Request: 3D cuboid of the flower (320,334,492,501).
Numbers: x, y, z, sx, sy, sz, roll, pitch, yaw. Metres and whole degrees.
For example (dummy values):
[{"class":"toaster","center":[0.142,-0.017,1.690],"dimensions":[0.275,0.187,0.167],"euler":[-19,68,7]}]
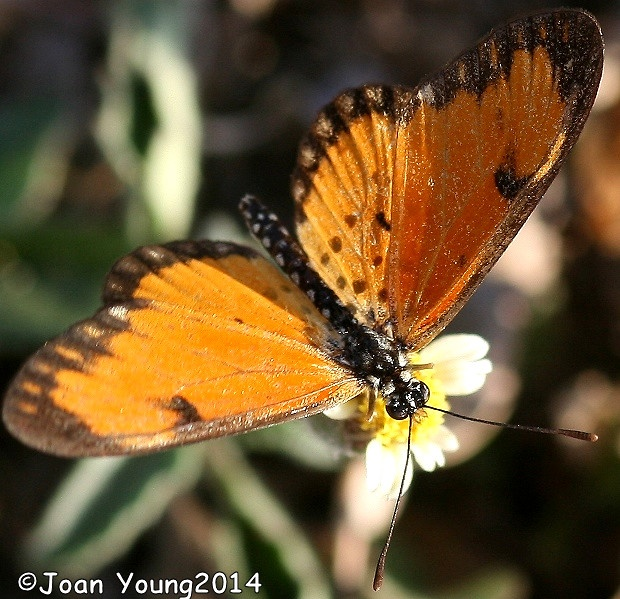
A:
[{"class":"flower","center":[0.163,0.154,1.590],"dimensions":[0.306,0.323,0.151],"euler":[-7,76,1]}]
